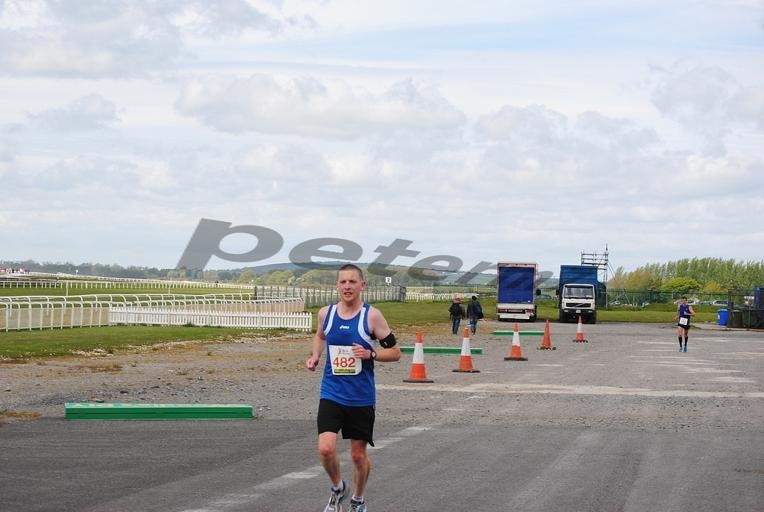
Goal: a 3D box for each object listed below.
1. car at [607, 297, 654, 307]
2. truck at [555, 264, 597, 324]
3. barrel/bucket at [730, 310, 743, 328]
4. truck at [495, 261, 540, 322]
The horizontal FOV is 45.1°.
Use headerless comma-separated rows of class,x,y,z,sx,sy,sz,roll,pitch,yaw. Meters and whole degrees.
car,32.809,6.075,121.692,3.408,1.170,2.684,14,-16,-38
truck,12.368,2.394,58.301,2.305,3.592,2.078,0,-5,7
barrel/bucket,20.203,3.610,52.687,0.639,0.974,2.444,-1,-5,18
truck,8.360,2.388,58.719,3.771,3.055,6.045,-1,-7,8
